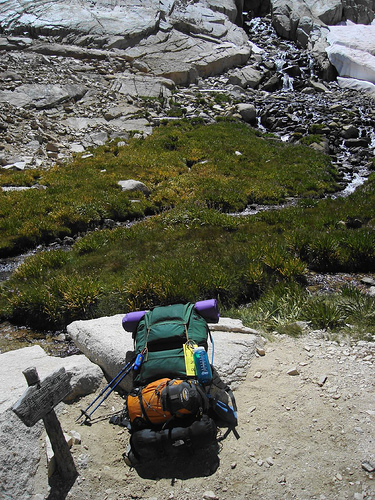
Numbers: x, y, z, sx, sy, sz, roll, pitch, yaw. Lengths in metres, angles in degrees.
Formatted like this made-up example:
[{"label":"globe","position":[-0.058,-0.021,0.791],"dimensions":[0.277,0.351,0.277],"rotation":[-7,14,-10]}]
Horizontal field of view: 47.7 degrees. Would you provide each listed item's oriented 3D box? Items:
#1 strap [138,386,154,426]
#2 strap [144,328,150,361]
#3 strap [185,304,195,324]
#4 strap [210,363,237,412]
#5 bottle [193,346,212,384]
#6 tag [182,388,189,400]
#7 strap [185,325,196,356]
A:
[{"label":"strap","position":[-0.551,2.045,5.452],"dimensions":[0.118,0.354,0.277],"rotation":[-12,16,-21]},{"label":"strap","position":[-0.570,1.370,6.082],"dimensions":[0.084,0.273,0.389],"rotation":[-8,15,-6]},{"label":"strap","position":[0.023,0.996,6.560],"dimensions":[0.071,0.273,0.279],"rotation":[12,56,-3]},{"label":"strap","position":[0.513,1.980,6.132],"dimensions":[0.306,0.677,0.339],"rotation":[-6,15,2]},{"label":"bottle","position":[0.193,1.582,5.737],"dimensions":[0.211,0.482,0.335],"rotation":[-7,15,-3]},{"label":"tag","position":[-0.032,1.804,5.303],"dimensions":[0.126,0.161,0.022],"rotation":[5,-21,-37]},{"label":"strap","position":[0.031,1.301,6.054],"dimensions":[0.124,0.022,0.397],"rotation":[-7,42,-4]}]
